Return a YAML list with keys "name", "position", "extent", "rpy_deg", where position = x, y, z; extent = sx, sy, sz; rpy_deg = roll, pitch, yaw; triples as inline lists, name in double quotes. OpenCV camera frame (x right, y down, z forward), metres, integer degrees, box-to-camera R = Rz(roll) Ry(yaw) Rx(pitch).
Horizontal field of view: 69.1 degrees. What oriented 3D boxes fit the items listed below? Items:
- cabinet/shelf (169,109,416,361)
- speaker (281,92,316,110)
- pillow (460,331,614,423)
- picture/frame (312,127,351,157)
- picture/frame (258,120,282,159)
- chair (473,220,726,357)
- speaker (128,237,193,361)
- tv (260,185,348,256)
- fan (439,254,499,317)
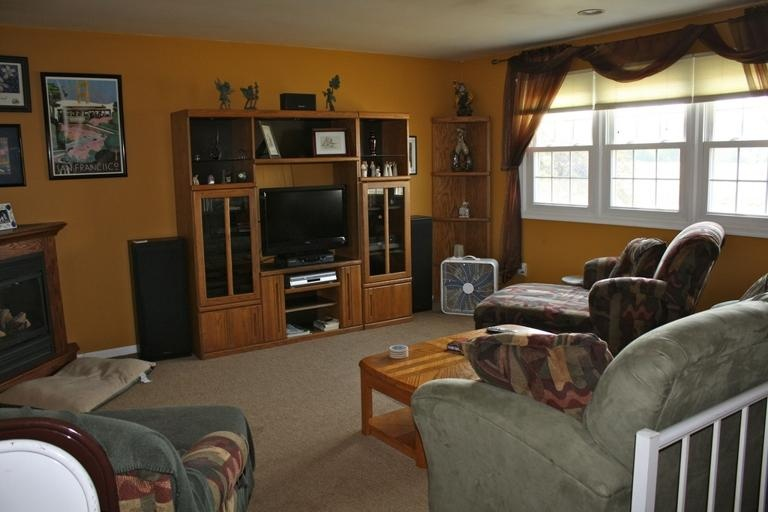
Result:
- name: "cabinet/shelf"
  position: [-1.007, -0.196, 5.673]
  extent: [2.543, 2.280, 0.609]
  rpy_deg: [-5, 7, -31]
- name: "speaker"
  position: [-0.863, -1.563, 5.650]
  extent: [0.344, 0.155, 0.094]
  rpy_deg: [-6, 15, -19]
- name: "pillow"
  position: [0.732, 0.506, 2.619]
  extent: [0.465, 0.138, 0.427]
  rpy_deg: [10, 13, 40]
- name: "picture/frame"
  position: [-0.540, -1.187, 5.857]
  extent: [0.343, 0.275, 0.026]
  rpy_deg: [-5, 4, -26]
- name: "picture/frame"
  position: [-1.171, -1.188, 5.717]
  extent: [0.178, 0.344, 0.331]
  rpy_deg: [-4, 14, -11]
- name: "chair"
  position: [1.924, 0.210, 4.895]
  extent: [1.619, 0.976, 1.349]
  rpy_deg: [4, 9, 36]
- name: "speaker"
  position: [-2.118, 0.425, 5.361]
  extent: [0.522, 1.145, 0.241]
  rpy_deg: [-6, 15, -19]
- name: "tv"
  position: [-0.865, -0.376, 5.792]
  extent: [0.749, 0.527, 0.078]
  rpy_deg: [-5, 6, -28]
- name: "fan"
  position: [0.960, 0.349, 6.248]
  extent: [0.693, 0.727, 0.261]
  rpy_deg: [3, 10, 23]
